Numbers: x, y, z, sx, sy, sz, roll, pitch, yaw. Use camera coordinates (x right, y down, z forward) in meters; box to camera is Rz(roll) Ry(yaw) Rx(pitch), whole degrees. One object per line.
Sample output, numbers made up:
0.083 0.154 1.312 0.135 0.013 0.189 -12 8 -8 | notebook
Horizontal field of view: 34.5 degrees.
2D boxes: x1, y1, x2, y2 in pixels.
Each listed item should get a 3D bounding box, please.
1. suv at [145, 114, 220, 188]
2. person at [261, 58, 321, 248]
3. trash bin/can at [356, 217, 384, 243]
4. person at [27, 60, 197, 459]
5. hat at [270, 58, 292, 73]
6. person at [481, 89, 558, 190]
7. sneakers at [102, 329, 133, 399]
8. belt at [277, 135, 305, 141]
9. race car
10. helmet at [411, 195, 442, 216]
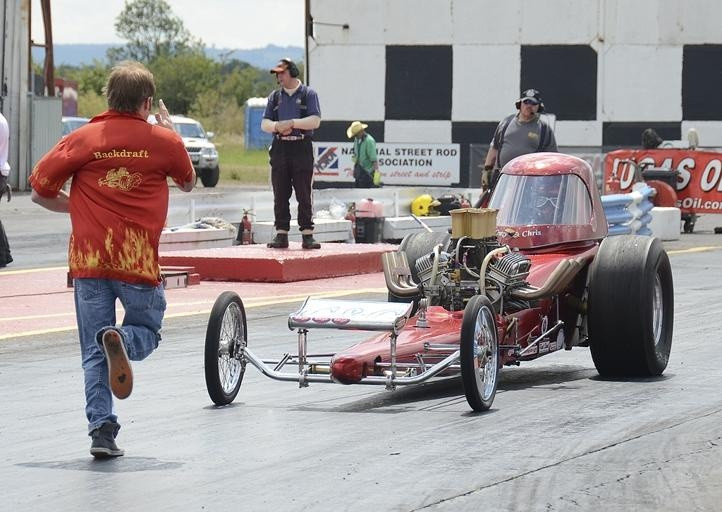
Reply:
-5.568 -3.121 38.261 1.732 1.731 3.486 6 -8 -13 | suv
-0.882 -1.236 15.013 0.713 2.292 0.682 -9 28 -34 | person
0.158 -0.467 20.118 0.422 0.435 0.434 2 4 23 | trash bin/can
-1.521 -0.137 7.300 1.095 2.408 1.520 -2 19 -13 | person
-0.981 -2.384 14.557 0.270 0.198 0.554 -1 8 -4 | hat
1.847 -1.422 13.682 0.807 1.386 0.719 12 22 40 | person
-1.462 0.643 7.042 0.170 0.422 0.194 -2 7 -13 | sneakers
-0.864 -1.498 14.692 0.340 0.072 0.064 1 7 4 | belt
0.839 0.194 9.124 2.350 1.852 3.900 1 3 33 | race car
1.252 -0.980 22.412 0.555 0.482 0.459 2 5 13 | helmet
